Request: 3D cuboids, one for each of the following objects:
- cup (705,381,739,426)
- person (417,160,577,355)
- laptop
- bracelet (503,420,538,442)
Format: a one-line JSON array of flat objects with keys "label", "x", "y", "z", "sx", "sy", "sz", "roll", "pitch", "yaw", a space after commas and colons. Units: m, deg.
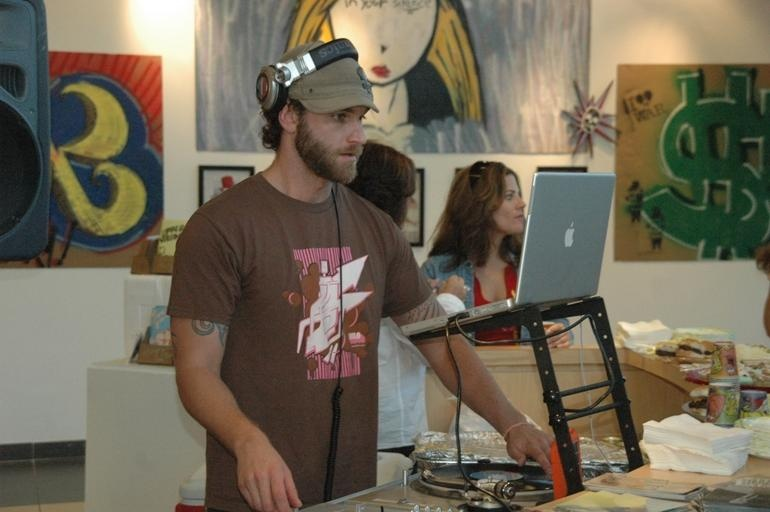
[{"label": "cup", "x": 1.317, "y": 0.557, "z": 2.858, "sx": 0.105, "sy": 0.192, "sz": 0.111, "roll": 3, "pitch": 1, "yaw": 0}, {"label": "person", "x": 0.710, "y": 0.086, "z": 4.560, "sx": 0.883, "sy": 1.374, "sz": 1.046, "roll": 3, "pitch": 7, "yaw": -4}, {"label": "laptop", "x": 0.464, "y": -0.007, "z": 2.653, "sx": 0.572, "sy": 0.457, "sz": 0.561, "roll": -4, "pitch": -3, "yaw": 44}, {"label": "bracelet", "x": 0.473, "y": 0.602, "z": 2.606, "sx": 0.091, "sy": 0.028, "sz": 0.099, "roll": -28, "pitch": -29, "yaw": 26}]
